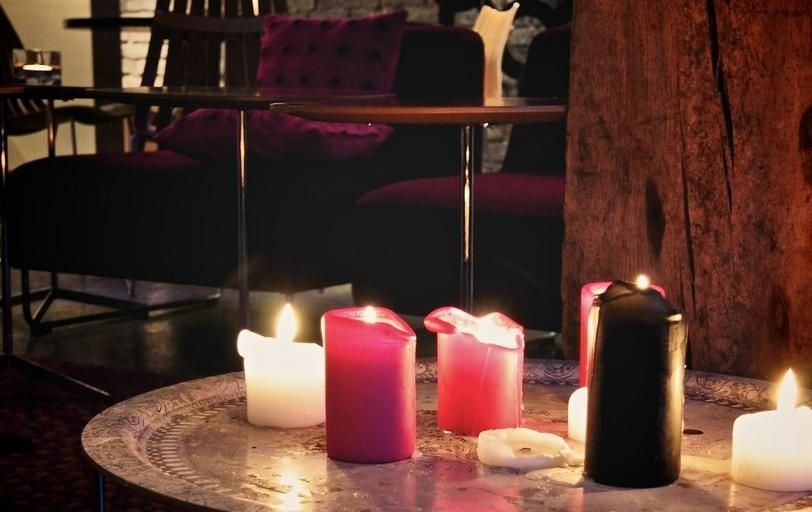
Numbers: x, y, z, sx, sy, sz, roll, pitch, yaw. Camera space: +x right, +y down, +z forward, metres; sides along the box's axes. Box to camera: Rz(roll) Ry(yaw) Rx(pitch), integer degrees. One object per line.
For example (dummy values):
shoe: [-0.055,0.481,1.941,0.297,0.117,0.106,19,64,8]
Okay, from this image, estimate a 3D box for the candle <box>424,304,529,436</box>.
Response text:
candle: [0.095,0.170,1.337,0.178,0.161,0.114,5,12,7]

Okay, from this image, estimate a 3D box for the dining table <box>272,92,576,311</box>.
dining table: [0.098,-0.159,1.855,0.569,0.512,0.516,2,9,10]

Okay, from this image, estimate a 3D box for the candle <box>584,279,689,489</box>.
candle: [0.308,0.173,1.179,0.123,0.262,0.104,2,16,12]

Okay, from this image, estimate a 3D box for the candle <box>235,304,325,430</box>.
candle: [-0.227,0.180,1.375,0.154,0.177,0.193,1,-2,-27]

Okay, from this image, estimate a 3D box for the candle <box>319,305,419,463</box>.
candle: [-0.052,0.178,1.246,0.127,0.205,0.114,-2,15,-3]
